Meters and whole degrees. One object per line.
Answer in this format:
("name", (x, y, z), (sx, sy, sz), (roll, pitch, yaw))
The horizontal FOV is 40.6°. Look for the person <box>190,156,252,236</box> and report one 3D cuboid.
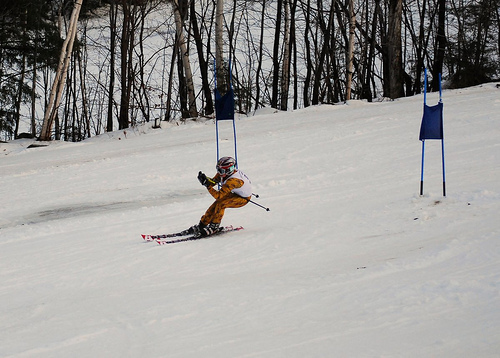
("person", (-0.590, 0.360, 14.901), (1.323, 1.681, 0.377), (-5, 5, -30))
